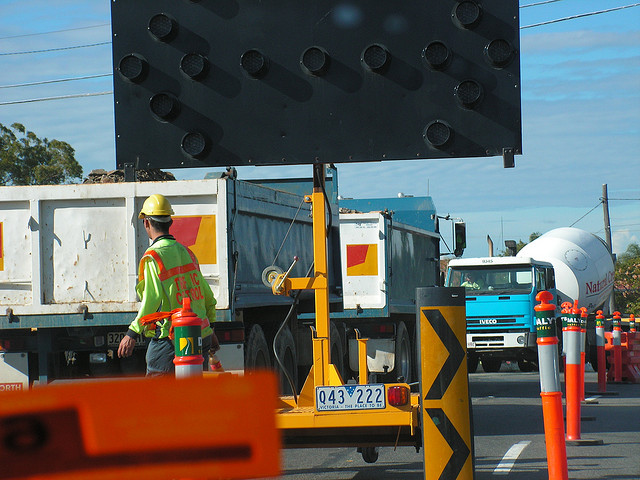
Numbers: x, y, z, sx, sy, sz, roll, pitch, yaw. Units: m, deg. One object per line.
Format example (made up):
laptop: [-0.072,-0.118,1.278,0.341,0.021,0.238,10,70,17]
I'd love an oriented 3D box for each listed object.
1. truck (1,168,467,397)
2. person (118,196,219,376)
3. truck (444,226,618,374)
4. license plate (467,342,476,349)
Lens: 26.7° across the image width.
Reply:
truck: [-1.308,0.476,18.858,3.053,2.755,5.832,-1,0,20]
person: [-1.555,0.456,13.548,0.454,1.800,1.144,-4,-6,40]
truck: [5.054,1.244,27.919,1.964,3.109,5.647,-5,-6,38]
license plate: [2.939,2.015,25.535,0.078,0.098,0.236,1,-5,-25]
